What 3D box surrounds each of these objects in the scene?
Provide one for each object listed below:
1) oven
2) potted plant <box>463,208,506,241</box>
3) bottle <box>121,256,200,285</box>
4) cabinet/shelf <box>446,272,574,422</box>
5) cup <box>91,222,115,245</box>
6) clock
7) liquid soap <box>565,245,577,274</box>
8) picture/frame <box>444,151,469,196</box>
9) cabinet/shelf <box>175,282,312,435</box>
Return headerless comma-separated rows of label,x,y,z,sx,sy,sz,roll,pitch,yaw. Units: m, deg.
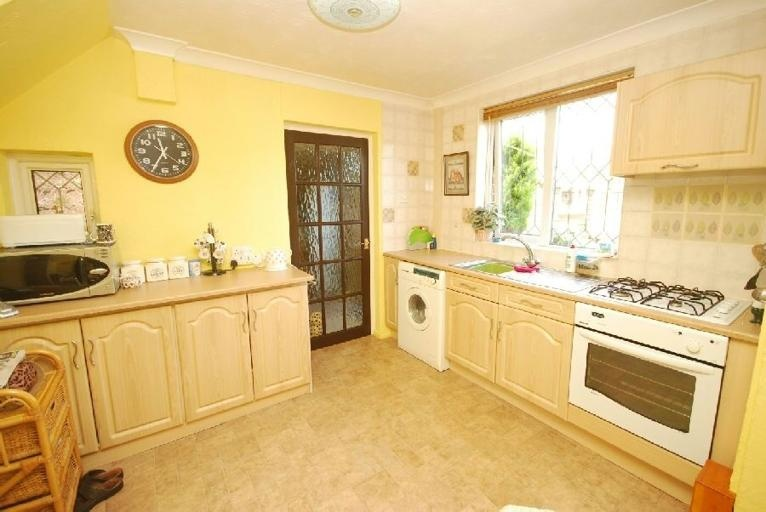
oven,2.034,0.834,3.721,0.748,0.969,1.076,-9,14,-29
potted plant,0.999,-0.334,5.008,0.436,0.338,0.231,0,8,19
bottle,-1.814,0.116,4.056,0.604,0.200,0.126,-7,10,-38
cabinet/shelf,1.160,0.659,4.349,0.503,1.078,1.289,-15,21,-37
cup,-2.187,-0.183,3.901,0.128,0.175,0.186,0,7,4
clock,-1.855,-0.872,4.096,0.605,0.577,0.079,1,1,-38
liquid soap,1.605,0.033,4.261,0.068,0.201,0.093,-4,8,-9
picture/frame,0.770,-0.874,5.175,0.041,0.547,0.462,-8,10,-34
cabinet/shelf,-1.170,0.823,4.009,1.123,0.990,0.461,-7,10,-34
